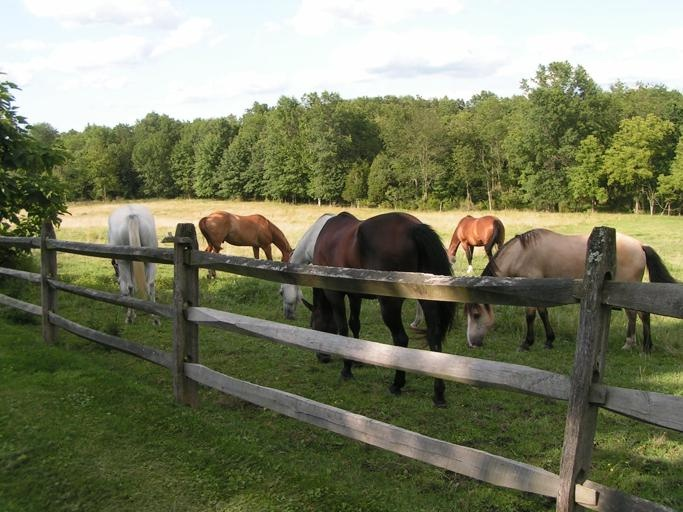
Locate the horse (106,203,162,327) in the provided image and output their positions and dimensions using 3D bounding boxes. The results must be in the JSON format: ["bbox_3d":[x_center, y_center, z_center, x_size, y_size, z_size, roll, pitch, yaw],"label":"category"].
[{"bbox_3d":[-3.583,0.109,10.665,0.832,2.028,2.777,0,4,-21],"label":"horse"}]

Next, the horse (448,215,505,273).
[{"bbox_3d":[3.389,-0.266,15.650,0.620,1.497,2.406,-5,-3,-23],"label":"horse"}]

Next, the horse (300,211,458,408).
[{"bbox_3d":[0.295,0.451,8.748,0.961,2.736,3.704,0,-4,-27],"label":"horse"}]

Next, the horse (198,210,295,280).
[{"bbox_3d":[-2.391,-0.254,16.166,2.509,1.805,0.608,1,4,-23],"label":"horse"}]
